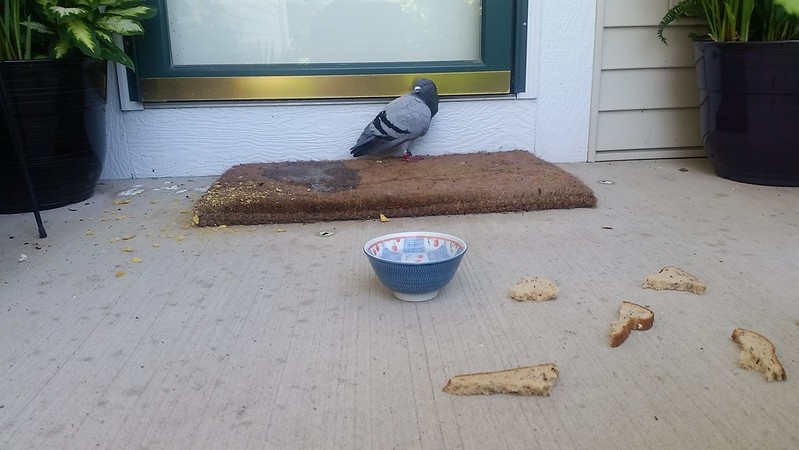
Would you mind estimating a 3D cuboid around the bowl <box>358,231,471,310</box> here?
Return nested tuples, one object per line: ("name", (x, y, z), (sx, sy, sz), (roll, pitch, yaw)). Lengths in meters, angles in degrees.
("bowl", (0.091, 0.194, 2.263), (0.428, 0.169, 0.401), (0, 11, 0))

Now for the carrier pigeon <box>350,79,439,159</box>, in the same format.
("carrier pigeon", (0.003, -0.901, 3.765), (0.779, 0.646, 0.389), (-7, 28, -31))

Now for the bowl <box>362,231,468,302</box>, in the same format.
("bowl", (0.081, 0.235, 2.268), (0.455, 0.180, 0.409), (-4, 12, -14))
